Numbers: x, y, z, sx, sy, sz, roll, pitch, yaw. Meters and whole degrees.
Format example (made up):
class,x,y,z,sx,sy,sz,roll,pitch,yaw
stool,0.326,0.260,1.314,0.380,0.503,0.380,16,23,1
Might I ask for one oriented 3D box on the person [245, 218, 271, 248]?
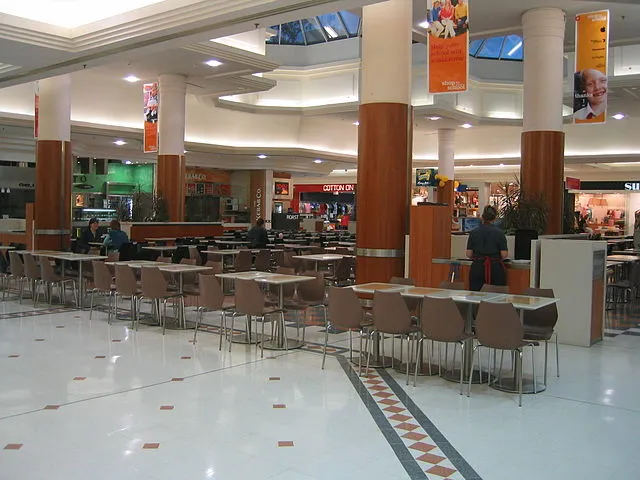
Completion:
class,x,y,z,sx,sy,sz,roll,pitch,yaw
person,-1.517,-0.069,13.319,0.636,0.918,0.694,1,-4,-8

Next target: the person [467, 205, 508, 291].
class,x,y,z,sx,sy,sz,roll,pitch,yaw
person,2.357,0.121,7.323,0.535,1.206,0.370,2,6,15
